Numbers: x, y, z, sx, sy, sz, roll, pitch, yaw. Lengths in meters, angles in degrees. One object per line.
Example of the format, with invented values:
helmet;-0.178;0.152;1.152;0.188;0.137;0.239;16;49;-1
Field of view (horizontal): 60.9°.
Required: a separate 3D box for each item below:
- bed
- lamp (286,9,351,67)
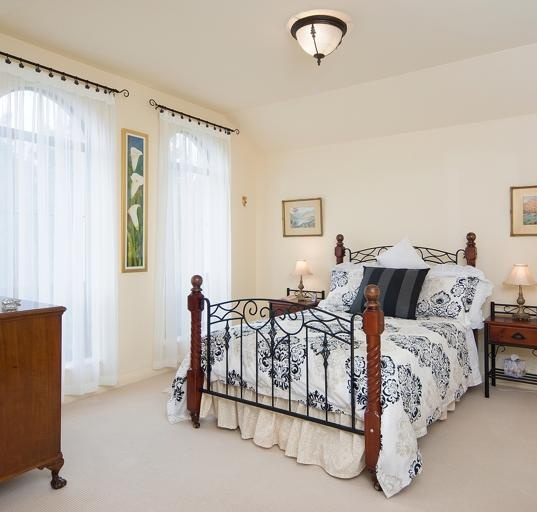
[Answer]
bed;0.523;0.619;3.467;1.648;1.089;1.851;3;5;35
lamp;0.344;-1.443;3.132;0.396;0.284;0.441;0;5;8
